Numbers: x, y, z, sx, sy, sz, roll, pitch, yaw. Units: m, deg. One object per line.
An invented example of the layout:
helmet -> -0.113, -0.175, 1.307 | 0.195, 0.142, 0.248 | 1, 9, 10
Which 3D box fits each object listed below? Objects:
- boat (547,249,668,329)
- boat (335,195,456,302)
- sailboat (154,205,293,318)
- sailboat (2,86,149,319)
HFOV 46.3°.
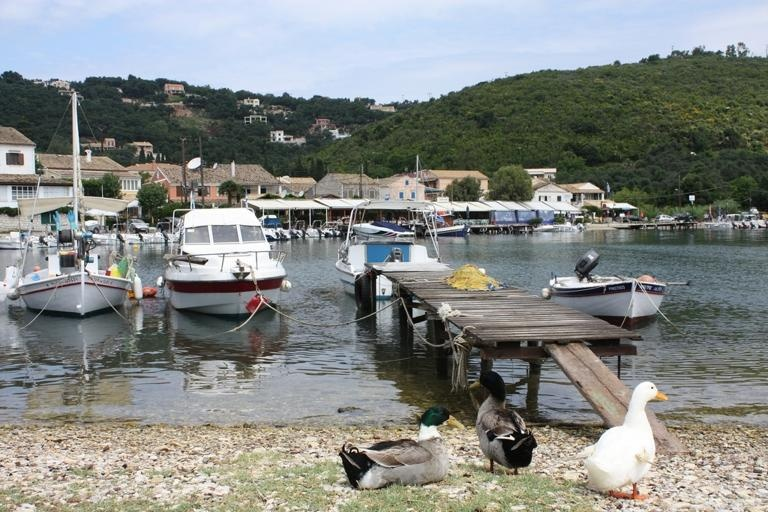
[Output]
boat -> 8.270, 1.184, 33.365 | 3.867, 2.777, 1.937 | 0, 5, 28
boat -> 0.111, -0.344, 39.077 | 4.346, 4.176, 11.300 | -3, 4, 0
sailboat -> -6.883, -0.674, 37.475 | 5.938, 3.372, 11.058 | 4, 14, -20
sailboat -> -14.455, -2.747, 40.160 | 6.107, 9.522, 15.485 | -4, 4, -15
